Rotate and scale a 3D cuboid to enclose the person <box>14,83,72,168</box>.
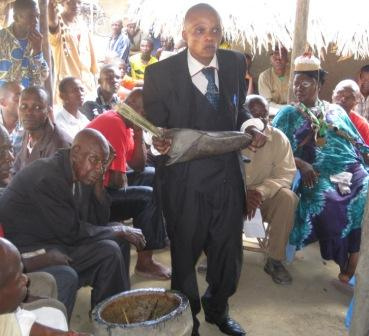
[{"bbox_3d":[-1.534,-0.422,4.471,0.953,0.827,0.490,8,8,25],"label":"person"}]

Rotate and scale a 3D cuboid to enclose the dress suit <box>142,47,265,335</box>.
[{"bbox_3d":[0.118,0.180,3.194,0.875,2.167,0.564,0,12,-8],"label":"dress suit"}]

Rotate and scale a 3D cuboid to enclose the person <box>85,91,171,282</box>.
[{"bbox_3d":[-0.608,0.171,4.541,1.065,1.957,0.770,5,12,9],"label":"person"}]

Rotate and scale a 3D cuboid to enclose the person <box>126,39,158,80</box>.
[{"bbox_3d":[-0.890,-2.343,9.378,0.671,1.065,0.598,5,8,-4],"label":"person"}]
